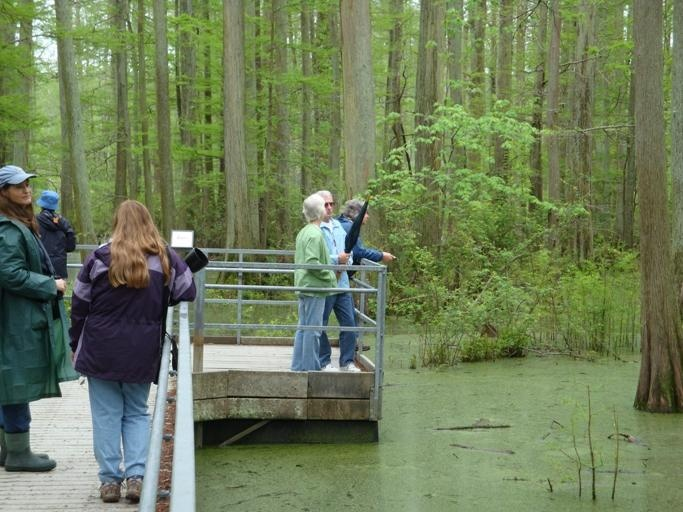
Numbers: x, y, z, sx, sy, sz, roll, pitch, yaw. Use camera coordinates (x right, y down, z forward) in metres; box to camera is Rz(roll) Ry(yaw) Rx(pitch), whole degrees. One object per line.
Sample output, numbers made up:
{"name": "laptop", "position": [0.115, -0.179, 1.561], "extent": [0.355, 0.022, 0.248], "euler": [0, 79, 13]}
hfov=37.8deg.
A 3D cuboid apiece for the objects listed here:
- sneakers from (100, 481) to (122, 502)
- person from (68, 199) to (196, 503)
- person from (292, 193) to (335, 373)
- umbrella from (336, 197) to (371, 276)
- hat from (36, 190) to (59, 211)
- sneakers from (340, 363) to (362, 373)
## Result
{"name": "sneakers", "position": [-2.677, 2.717, 11.585], "extent": [0.161, 0.161, 0.368], "euler": [2, -11, -16]}
{"name": "person", "position": [-2.494, 1.087, 11.655], "extent": [1.318, 3.495, 0.478], "euler": [0, -2, -14]}
{"name": "person", "position": [-0.407, 0.369, 14.263], "extent": [0.638, 2.519, 0.875], "euler": [-1, -2, -3]}
{"name": "umbrella", "position": [0.177, -0.273, 14.798], "extent": [0.410, 1.097, 1.043], "euler": [-1, -2, 0]}
{"name": "hat", "position": [-4.439, -0.894, 15.155], "extent": [0.277, 0.313, 0.172], "euler": [18, -52, -25]}
{"name": "sneakers", "position": [0.137, 1.626, 14.671], "extent": [0.298, 0.127, 0.112], "euler": [-5, -5, 30]}
